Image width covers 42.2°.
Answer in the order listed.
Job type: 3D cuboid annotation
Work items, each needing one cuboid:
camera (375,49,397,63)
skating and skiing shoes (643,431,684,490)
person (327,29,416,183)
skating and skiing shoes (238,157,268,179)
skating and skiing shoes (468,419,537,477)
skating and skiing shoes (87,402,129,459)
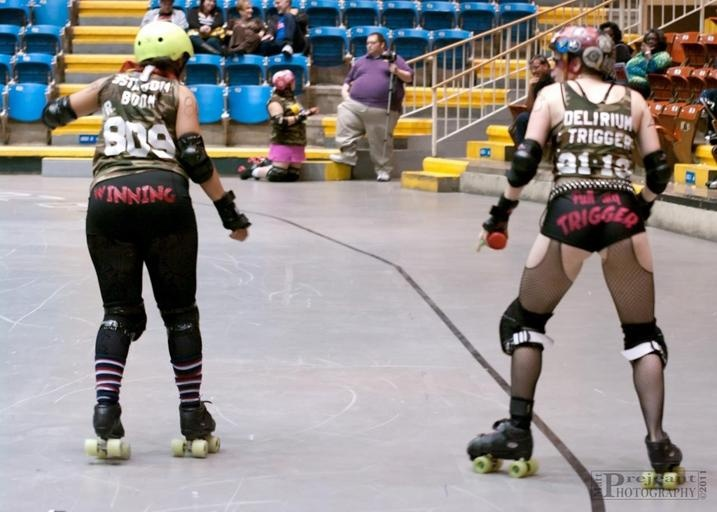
[{"bbox_3d":[0.449,-3.065,14.183,0.267,0.153,0.371,2,-1,15],"label":"camera"},{"bbox_3d":[1.426,0.976,4.385,0.183,0.219,0.348,-8,-8,30],"label":"skating and skiing shoes"},{"bbox_3d":[0.215,-2.278,14.545,1.203,2.305,0.704,3,15,9],"label":"person"},{"bbox_3d":[-1.677,-1.403,14.908,0.487,0.214,0.183,-26,9,22],"label":"skating and skiing shoes"},{"bbox_3d":[0.672,0.905,4.409,0.324,0.259,0.107,3,15,11],"label":"skating and skiing shoes"},{"bbox_3d":[-1.236,0.868,4.604,0.207,0.253,0.409,2,-12,-6],"label":"skating and skiing shoes"}]
